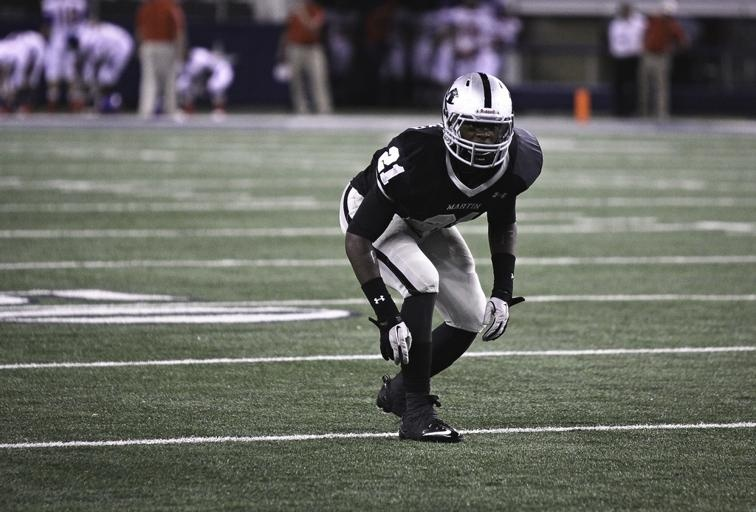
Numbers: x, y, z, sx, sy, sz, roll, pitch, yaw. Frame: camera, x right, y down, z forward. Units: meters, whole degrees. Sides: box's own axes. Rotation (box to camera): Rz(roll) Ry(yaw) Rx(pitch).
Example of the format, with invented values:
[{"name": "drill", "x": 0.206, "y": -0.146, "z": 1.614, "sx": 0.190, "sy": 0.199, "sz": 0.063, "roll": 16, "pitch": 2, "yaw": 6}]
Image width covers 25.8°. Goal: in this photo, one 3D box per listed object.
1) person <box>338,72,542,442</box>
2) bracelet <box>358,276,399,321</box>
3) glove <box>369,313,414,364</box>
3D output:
[{"name": "person", "x": 0.481, "y": -0.024, "z": 13.048, "sx": 1.489, "sy": 2.814, "sz": 0.922, "roll": 0, "pitch": 15, "yaw": -3}, {"name": "bracelet", "x": 0.022, "y": 0.336, "z": 12.914, "sx": 0.236, "sy": 0.372, "sz": 0.152, "roll": -31, "pitch": 1, "yaw": 2}, {"name": "glove", "x": 0.137, "y": 0.648, "z": 12.896, "sx": 0.408, "sy": 0.289, "sz": 0.199, "roll": 35, "pitch": -24, "yaw": 8}]
